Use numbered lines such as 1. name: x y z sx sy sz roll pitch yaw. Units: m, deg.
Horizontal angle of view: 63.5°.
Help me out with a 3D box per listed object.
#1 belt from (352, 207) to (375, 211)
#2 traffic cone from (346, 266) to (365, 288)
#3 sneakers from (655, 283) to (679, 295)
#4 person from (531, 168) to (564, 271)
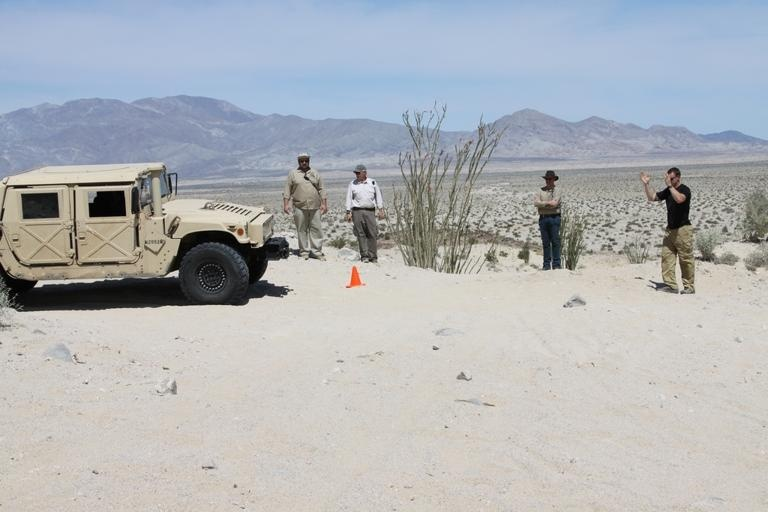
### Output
1. belt: -0.446 -0.979 12.909 0.489 0.100 0.153 0 7 -3
2. traffic cone: -0.527 0.392 11.585 0.348 0.389 0.365 -1 5 9
3. sneakers: 4.873 0.553 10.664 0.372 0.146 0.140 15 15 36
4. person: 3.415 -0.751 12.759 0.541 2.004 0.903 2 8 15
